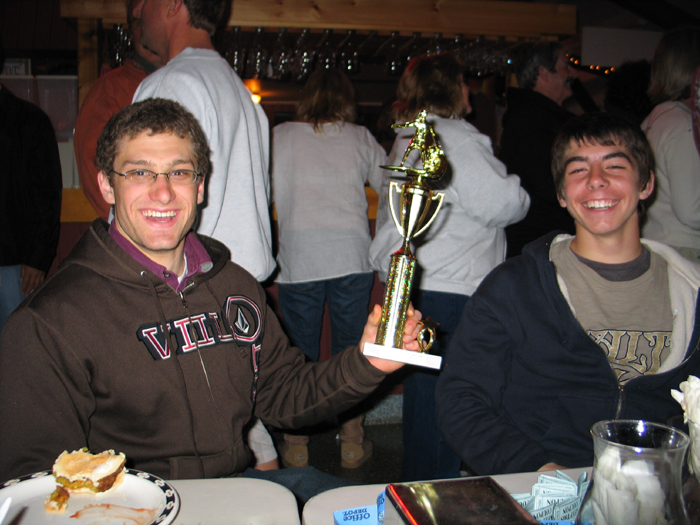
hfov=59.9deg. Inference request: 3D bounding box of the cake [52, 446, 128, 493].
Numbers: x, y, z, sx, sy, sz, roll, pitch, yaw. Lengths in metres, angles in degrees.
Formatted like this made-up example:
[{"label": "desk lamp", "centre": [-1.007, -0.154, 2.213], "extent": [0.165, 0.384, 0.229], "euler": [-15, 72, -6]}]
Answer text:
[{"label": "cake", "centre": [-0.602, 0.484, 1.401], "extent": [0.110, 0.047, 0.123], "euler": [3, 1, -21]}]
